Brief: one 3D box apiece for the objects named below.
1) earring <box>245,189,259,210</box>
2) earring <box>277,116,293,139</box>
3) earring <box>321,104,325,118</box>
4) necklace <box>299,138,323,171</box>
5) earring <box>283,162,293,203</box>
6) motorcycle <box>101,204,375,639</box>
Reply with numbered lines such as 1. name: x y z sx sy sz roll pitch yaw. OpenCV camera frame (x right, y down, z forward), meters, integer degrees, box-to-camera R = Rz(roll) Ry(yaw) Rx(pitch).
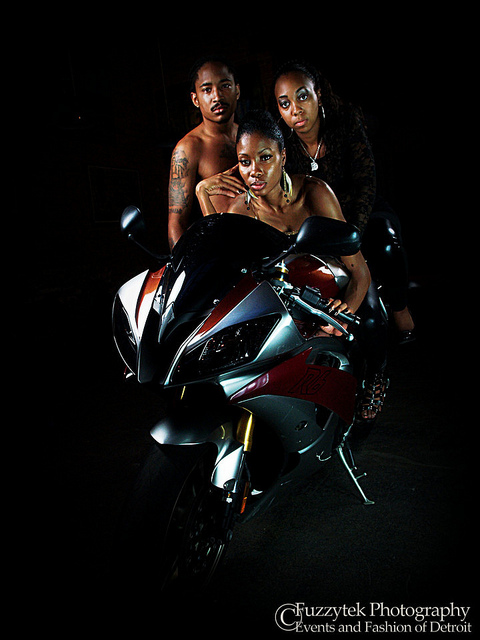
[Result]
1. earring: 0.036 -0.334 1.518 0.037 0.051 0.020 -1 -4 -12
2. earring: 0.136 -0.583 1.647 0.017 0.067 0.057 1 23 41
3. earring: 0.256 -0.641 1.665 0.003 0.034 0.006 2 24 42
4. necklace: 0.232 -0.519 1.700 0.070 0.092 0.034 -13 17 3
5. earring: 0.131 -0.379 1.501 0.021 0.102 0.049 -8 18 20
6. motorcycle: 0.016 0.136 1.446 0.513 0.734 1.237 2 5 30
